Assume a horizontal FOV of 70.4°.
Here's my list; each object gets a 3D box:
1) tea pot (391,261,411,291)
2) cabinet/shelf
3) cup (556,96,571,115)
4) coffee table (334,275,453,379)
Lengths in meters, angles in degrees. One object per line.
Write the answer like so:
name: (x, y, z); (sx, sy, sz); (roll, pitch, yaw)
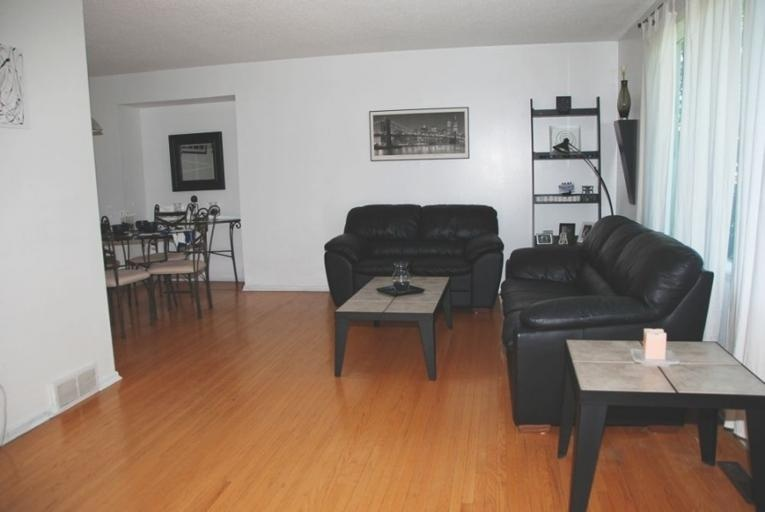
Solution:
tea pot: (0.162, 0.168, 4.812); (0.208, 0.330, 0.221); (1, -3, 0)
cabinet/shelf: (2.214, -0.836, 6.487); (0.809, 1.896, 0.246); (-2, 10, 13)
cup: (2.037, -1.716, 6.180); (0.178, 0.190, 0.184); (0, 5, 0)
coffee table: (0.106, 0.567, 4.744); (0.847, 0.635, 1.133); (0, 11, 15)
